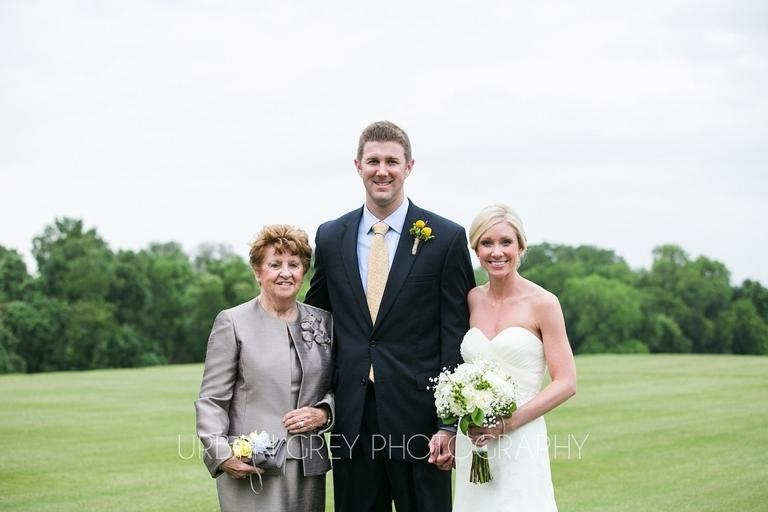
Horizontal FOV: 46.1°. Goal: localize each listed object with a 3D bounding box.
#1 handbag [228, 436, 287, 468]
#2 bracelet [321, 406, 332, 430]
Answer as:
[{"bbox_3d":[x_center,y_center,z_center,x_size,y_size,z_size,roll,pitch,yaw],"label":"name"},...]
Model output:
[{"bbox_3d":[-2.731,4.589,20.967,0.813,0.293,0.795,-2,14,17],"label":"handbag"},{"bbox_3d":[-1.309,3.856,21.322,0.284,0.328,0.437,-17,-46,-24],"label":"bracelet"}]
